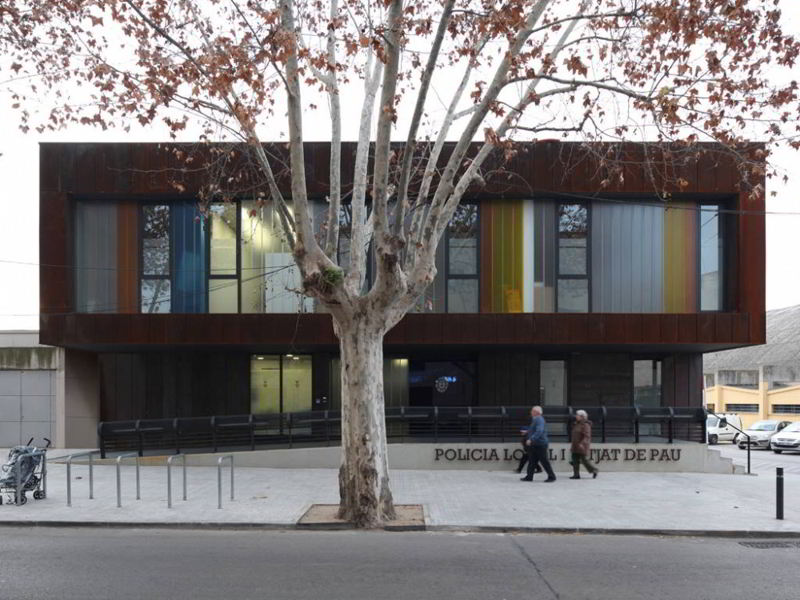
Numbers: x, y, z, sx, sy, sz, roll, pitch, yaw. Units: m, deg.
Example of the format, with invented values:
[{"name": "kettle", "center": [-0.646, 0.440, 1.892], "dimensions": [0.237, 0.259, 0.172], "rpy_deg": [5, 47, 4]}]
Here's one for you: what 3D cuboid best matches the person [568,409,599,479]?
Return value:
[{"name": "person", "center": [4.832, 3.830, 33.062], "dimensions": [0.686, 1.788, 1.050], "rpy_deg": [-3, -6, 9]}]
